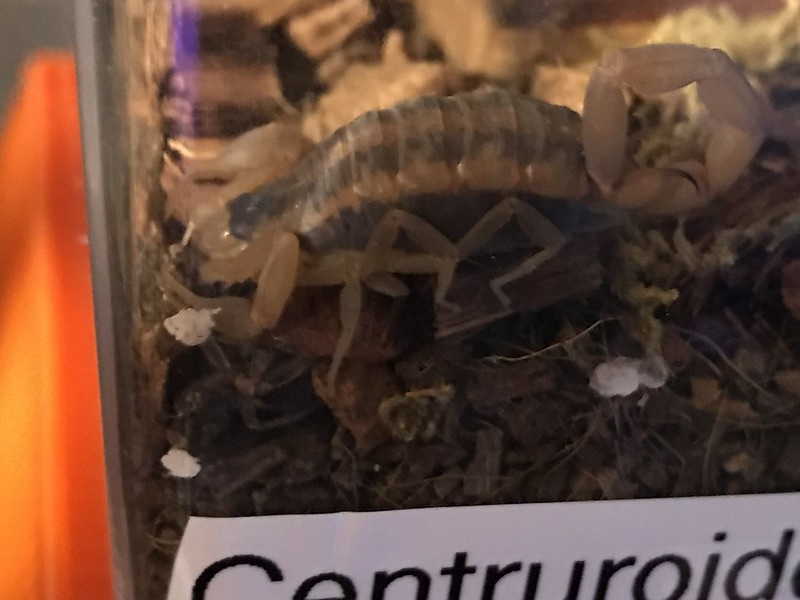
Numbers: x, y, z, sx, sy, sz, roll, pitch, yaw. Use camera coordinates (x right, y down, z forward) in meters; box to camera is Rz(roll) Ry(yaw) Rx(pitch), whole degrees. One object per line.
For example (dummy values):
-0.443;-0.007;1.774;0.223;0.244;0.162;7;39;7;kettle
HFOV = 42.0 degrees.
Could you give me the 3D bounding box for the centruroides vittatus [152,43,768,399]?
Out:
0.085;-0.119;1.096;0.534;0.209;0.368;-15;41;6;centruroides vittatus
